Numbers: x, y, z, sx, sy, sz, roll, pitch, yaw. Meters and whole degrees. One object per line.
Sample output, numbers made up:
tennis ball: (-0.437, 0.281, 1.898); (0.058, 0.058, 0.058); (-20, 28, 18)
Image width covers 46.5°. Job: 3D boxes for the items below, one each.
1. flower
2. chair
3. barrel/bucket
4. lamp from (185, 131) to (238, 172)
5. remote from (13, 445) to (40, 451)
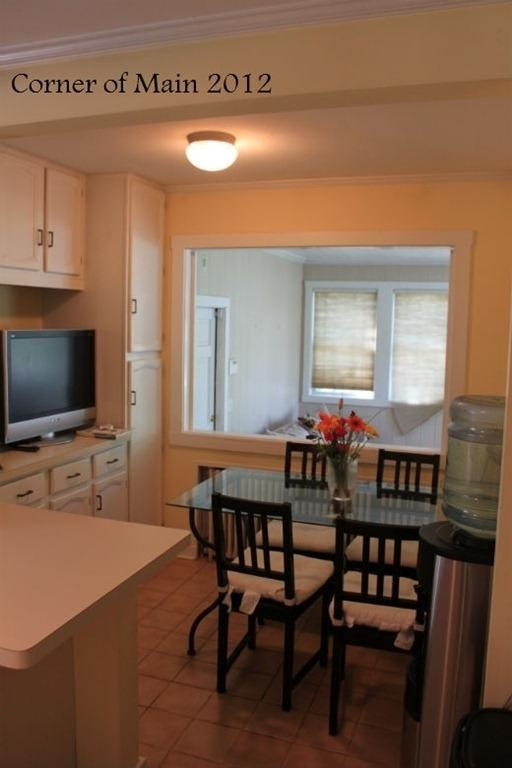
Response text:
flower: (0.361, 0.303, 2.600); (0.263, 0.446, 0.379); (3, 3, 30)
chair: (0.292, 0.752, 2.947); (1.210, 0.827, 1.310); (2, 3, 7)
barrel/bucket: (0.507, 0.197, 1.404); (0.127, 0.299, 0.123); (2, 3, 0)
lamp: (-0.184, -0.966, 2.471); (0.208, 0.114, 0.177); (1, 3, -9)
remote: (-1.106, 0.311, 2.891); (0.085, 0.020, 0.048); (-2, -2, 11)
